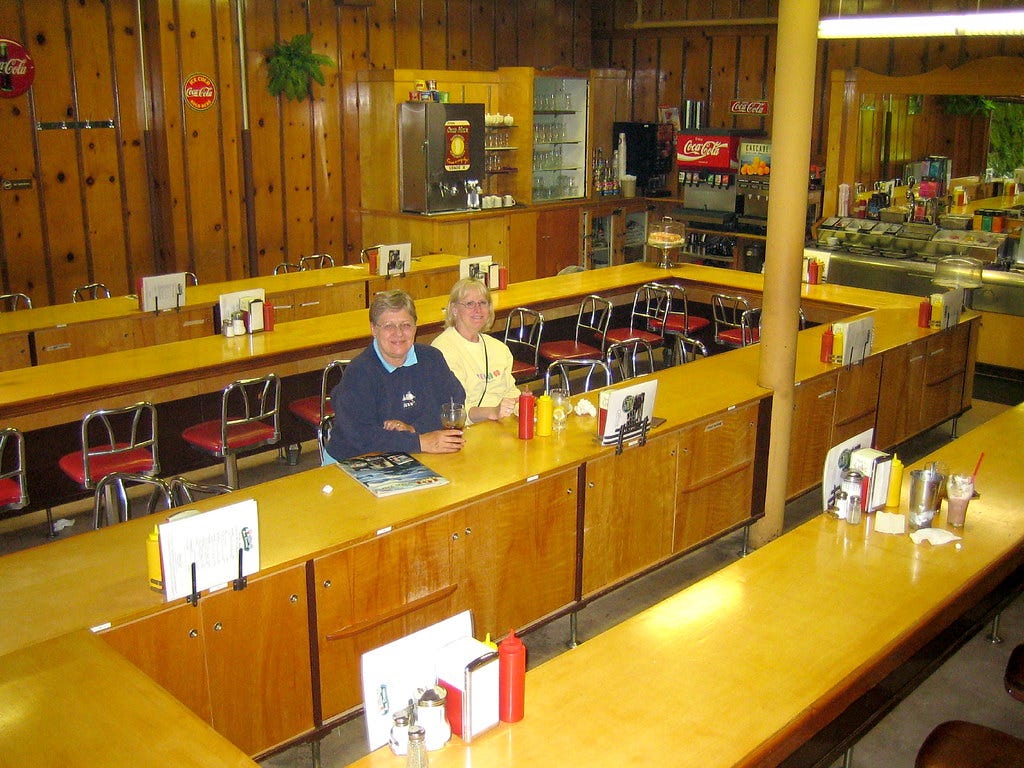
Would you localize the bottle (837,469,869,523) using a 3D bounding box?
[{"bbox_3d":[1.669,0.537,4.055,0.103,0.253,0.137,11,21,38],"label":"bottle"}]

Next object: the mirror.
[{"bbox_3d":[5.253,-2.855,10.639,2.110,2.087,0.152,-9,19,-24],"label":"mirror"}]

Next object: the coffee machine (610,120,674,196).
[{"bbox_3d":[1.938,-3.307,12.314,0.916,1.069,0.387,1,17,9],"label":"coffee machine"}]

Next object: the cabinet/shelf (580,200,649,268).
[{"bbox_3d":[1.459,-2.216,12.166,1.164,1.064,0.450,-16,30,-28],"label":"cabinet/shelf"}]

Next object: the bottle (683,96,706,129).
[{"bbox_3d":[2.637,-3.915,12.010,0.331,0.394,0.136,14,23,43],"label":"bottle"}]

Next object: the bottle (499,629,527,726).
[{"bbox_3d":[-0.001,0.955,2.801,0.088,0.311,0.184,-2,16,1],"label":"bottle"}]

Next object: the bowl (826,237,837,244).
[{"bbox_3d":[3.866,-1.720,10.009,0.081,0.059,0.082,-2,17,1],"label":"bowl"}]

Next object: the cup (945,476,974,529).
[{"bbox_3d":[2.192,0.575,4.073,0.109,0.216,0.205,7,19,28],"label":"cup"}]

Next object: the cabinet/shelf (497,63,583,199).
[{"bbox_3d":[0.357,-3.533,11.571,0.679,2.329,1.499,17,27,40],"label":"cabinet/shelf"}]

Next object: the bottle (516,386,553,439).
[{"bbox_3d":[0.123,0.174,4.718,0.240,0.329,0.126,-5,15,-24],"label":"bottle"}]

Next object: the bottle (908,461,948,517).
[{"bbox_3d":[2.035,0.521,4.071,0.145,0.263,0.253,8,19,31],"label":"bottle"}]
